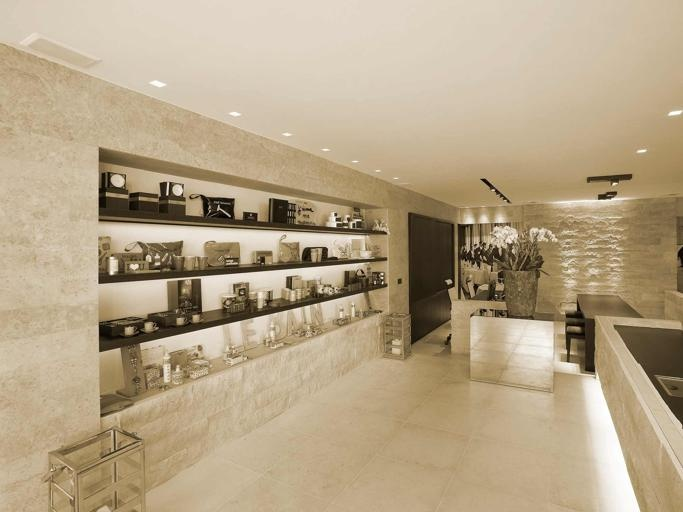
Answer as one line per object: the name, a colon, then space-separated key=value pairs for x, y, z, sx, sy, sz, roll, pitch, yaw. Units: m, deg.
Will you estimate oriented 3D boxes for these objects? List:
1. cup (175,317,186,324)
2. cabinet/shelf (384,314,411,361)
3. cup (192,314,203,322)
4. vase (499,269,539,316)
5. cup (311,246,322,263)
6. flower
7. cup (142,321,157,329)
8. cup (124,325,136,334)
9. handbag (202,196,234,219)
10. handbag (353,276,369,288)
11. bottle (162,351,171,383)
cup: x=-1.409 y=0.575 z=3.915 sx=0.048 sy=0.047 sz=0.066 roll=5 pitch=9 yaw=31
cabinet/shelf: x=0.850 y=1.240 z=6.890 sx=0.391 sy=0.621 sz=0.383 roll=2 pitch=10 yaw=15
cup: x=-1.320 y=0.568 z=4.069 sx=0.055 sy=0.053 sz=0.072 roll=-5 pitch=-12 yaw=23
vase: x=2.299 y=0.506 z=5.701 sx=0.445 sy=0.615 sz=0.475 roll=-2 pitch=-5 yaw=22
cup: x=-0.297 y=-0.001 z=5.671 sx=0.171 sy=0.205 sz=0.167 roll=0 pitch=5 yaw=0
flower: x=2.199 y=-0.084 z=5.501 sx=0.741 sy=0.557 sz=1.105 roll=-7 pitch=-12 yaw=37
cup: x=-1.608 y=0.590 z=3.744 sx=0.063 sy=0.053 sz=0.080 roll=-3 pitch=-9 yaw=15
cup: x=-1.692 y=0.601 z=3.557 sx=0.056 sy=0.053 sz=0.073 roll=-4 pitch=-8 yaw=32
handbag: x=-1.206 y=-0.469 z=4.318 sx=0.044 sy=0.194 sz=0.273 roll=4 pitch=2 yaw=44
handbag: x=0.304 y=0.397 z=6.615 sx=0.143 sy=0.184 sz=0.266 roll=-3 pitch=-3 yaw=34
bottle: x=-1.575 y=1.002 z=3.997 sx=0.079 sy=0.245 sz=0.240 roll=-4 pitch=10 yaw=-21
